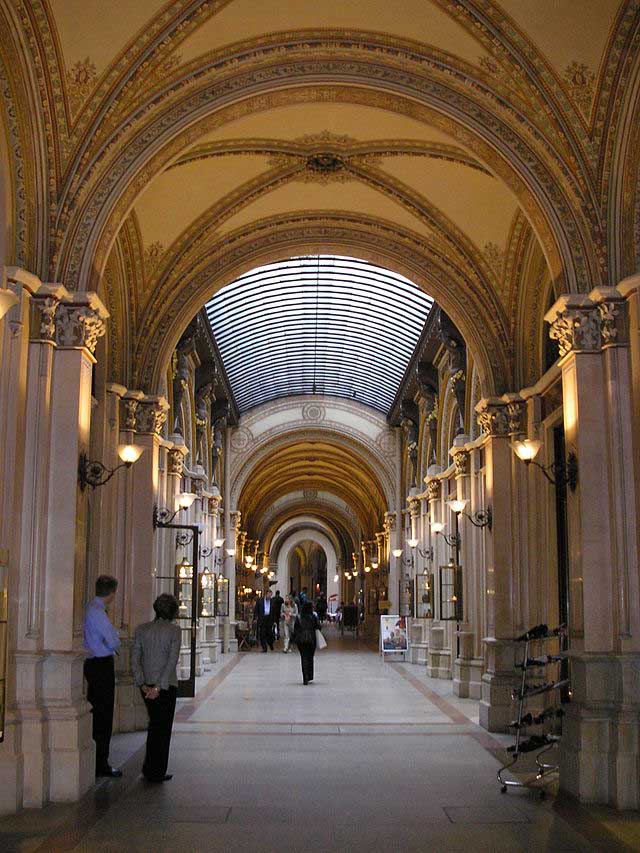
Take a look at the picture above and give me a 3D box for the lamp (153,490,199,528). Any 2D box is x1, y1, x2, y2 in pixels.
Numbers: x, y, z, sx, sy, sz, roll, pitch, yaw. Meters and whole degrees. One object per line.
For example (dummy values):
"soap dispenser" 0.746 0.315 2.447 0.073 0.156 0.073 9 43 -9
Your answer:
"lamp" -2.457 1.336 12.049 0.806 0.635 0.419 -2 -6 5

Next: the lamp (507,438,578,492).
"lamp" 2.419 0.444 8.071 0.786 0.647 0.395 8 28 39

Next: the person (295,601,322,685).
"person" -0.302 4.441 15.335 0.505 1.631 1.202 1 -14 -1

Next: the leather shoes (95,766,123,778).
"leather shoes" -1.842 2.997 6.449 0.220 0.070 0.141 4 -15 -10

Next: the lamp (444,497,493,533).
"lamp" 2.297 1.352 11.519 0.683 0.474 0.339 3 -9 1

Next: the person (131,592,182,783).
"person" -1.422 2.296 6.284 0.389 1.316 0.370 2 -14 -1
